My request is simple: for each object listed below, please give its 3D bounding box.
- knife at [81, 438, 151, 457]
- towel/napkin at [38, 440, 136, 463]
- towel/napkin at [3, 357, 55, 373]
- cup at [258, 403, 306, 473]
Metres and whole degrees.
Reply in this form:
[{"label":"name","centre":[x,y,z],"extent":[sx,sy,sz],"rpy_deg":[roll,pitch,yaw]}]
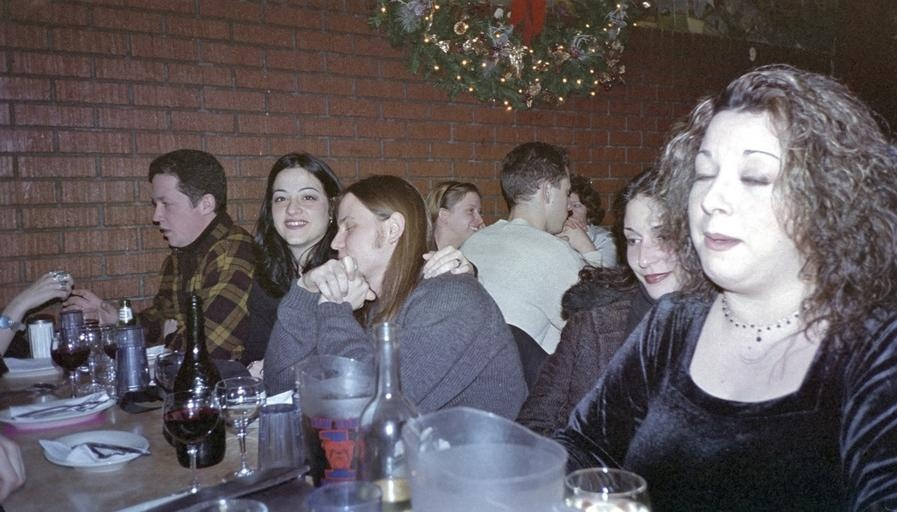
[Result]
[{"label":"knife","centre":[-1.143,0.648,2.341],"extent":[0.176,0.037,0.036],"rpy_deg":[6,5,8]},{"label":"towel/napkin","centre":[-1.205,0.655,2.309],"extent":[0.173,0.030,0.141],"rpy_deg":[7,-1,-27]},{"label":"towel/napkin","centre":[-1.917,0.483,3.135],"extent":[0.185,0.040,0.177],"rpy_deg":[-5,10,-31]},{"label":"cup","centre":[-0.534,0.563,2.191],"extent":[0.206,0.204,0.184],"rpy_deg":[0,-4,-24]}]
